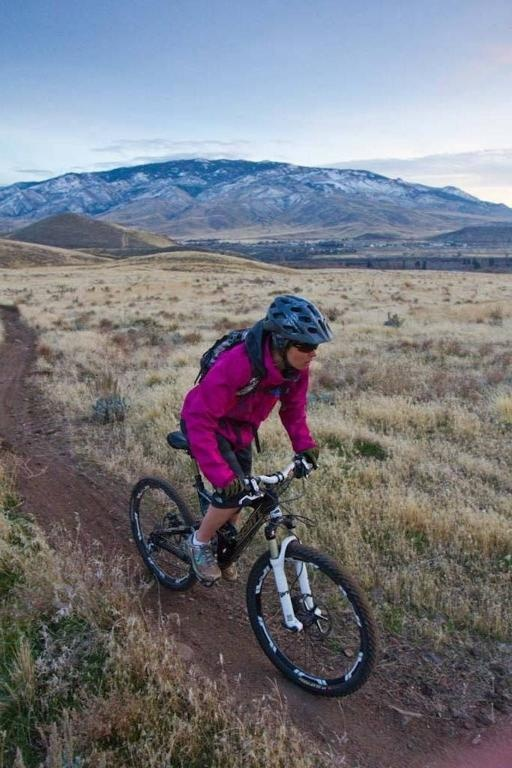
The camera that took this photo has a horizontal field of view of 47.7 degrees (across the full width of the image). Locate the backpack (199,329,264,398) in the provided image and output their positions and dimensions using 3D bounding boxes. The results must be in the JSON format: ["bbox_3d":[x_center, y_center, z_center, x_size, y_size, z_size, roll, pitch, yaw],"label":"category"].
[{"bbox_3d":[-0.156,-0.173,3.717,0.342,0.444,0.569,-8,20,-23],"label":"backpack"}]

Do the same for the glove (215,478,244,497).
[{"bbox_3d":[-0.146,0.623,3.502,0.124,0.069,0.099,-20,21,-5],"label":"glove"}]

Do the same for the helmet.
[{"bbox_3d":[0.172,-0.357,3.636,0.494,0.260,0.365,10,-1,19],"label":"helmet"}]

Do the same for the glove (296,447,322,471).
[{"bbox_3d":[0.372,0.523,4.115,0.142,0.055,0.143,18,11,36],"label":"glove"}]

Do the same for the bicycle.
[{"bbox_3d":[0.140,1.217,4.496,1.039,1.456,2.379,-4,20,-45],"label":"bicycle"}]

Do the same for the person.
[{"bbox_3d":[-0.059,0.430,3.909,0.886,2.033,1.121,-5,17,-37],"label":"person"}]
